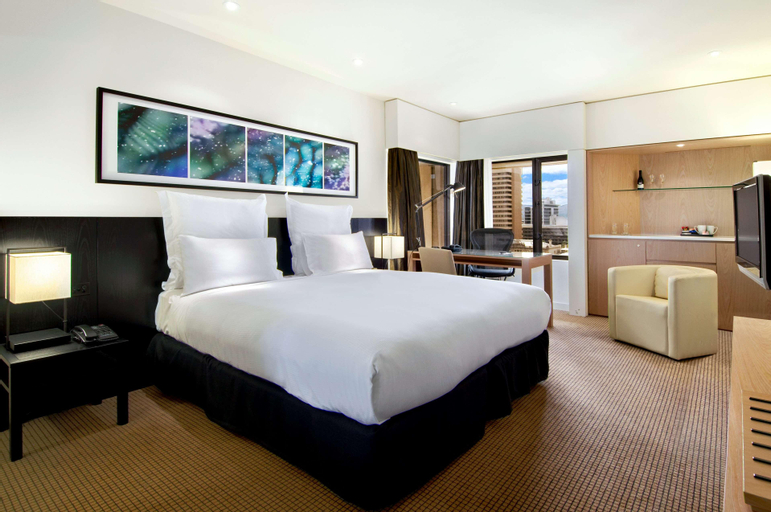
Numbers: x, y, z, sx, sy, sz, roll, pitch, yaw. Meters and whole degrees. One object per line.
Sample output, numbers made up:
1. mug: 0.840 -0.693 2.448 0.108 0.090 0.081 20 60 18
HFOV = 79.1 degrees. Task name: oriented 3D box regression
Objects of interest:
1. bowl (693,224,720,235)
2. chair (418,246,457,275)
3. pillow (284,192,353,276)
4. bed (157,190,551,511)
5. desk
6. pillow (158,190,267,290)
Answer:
1. bowl: 3.948 -0.315 5.772 0.169 0.087 0.198 0 5 7
2. chair: 0.601 0.030 5.546 0.356 0.535 0.305 -5 5 -42
3. pillow: -0.728 -0.203 4.889 0.810 0.809 0.265 -6 -7 -44
4. bed: -0.436 0.645 3.853 2.432 1.619 2.554 -1 1 37
5. desk: 1.382 0.335 5.814 0.525 0.713 1.293 -10 7 -39
6. pillow: -1.581 -0.111 4.134 0.840 0.810 0.273 -1 -10 -44
